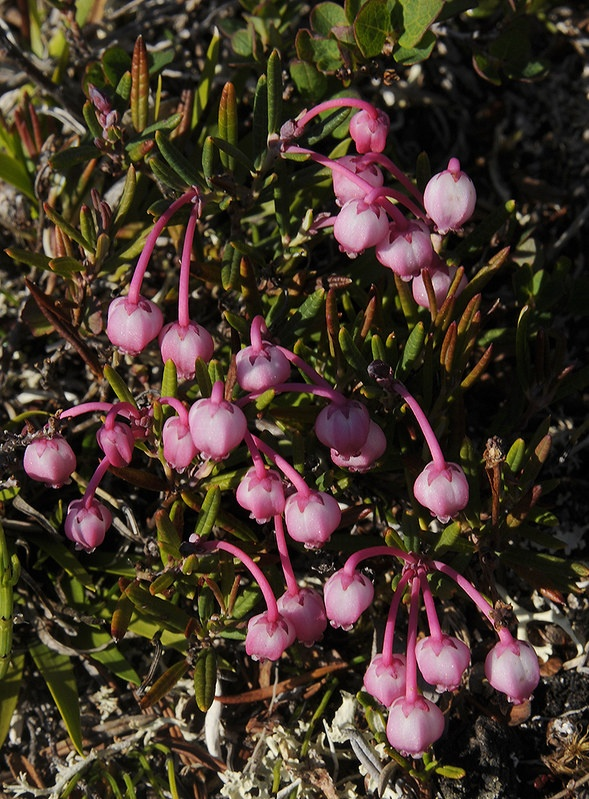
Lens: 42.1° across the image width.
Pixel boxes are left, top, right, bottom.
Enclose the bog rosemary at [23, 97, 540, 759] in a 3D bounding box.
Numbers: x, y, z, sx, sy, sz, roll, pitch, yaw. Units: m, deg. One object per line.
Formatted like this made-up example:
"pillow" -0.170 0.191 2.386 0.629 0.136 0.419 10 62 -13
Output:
"bog rosemary" -0.025 0.076 1.185 0.909 0.204 1.090 -2 81 -2
